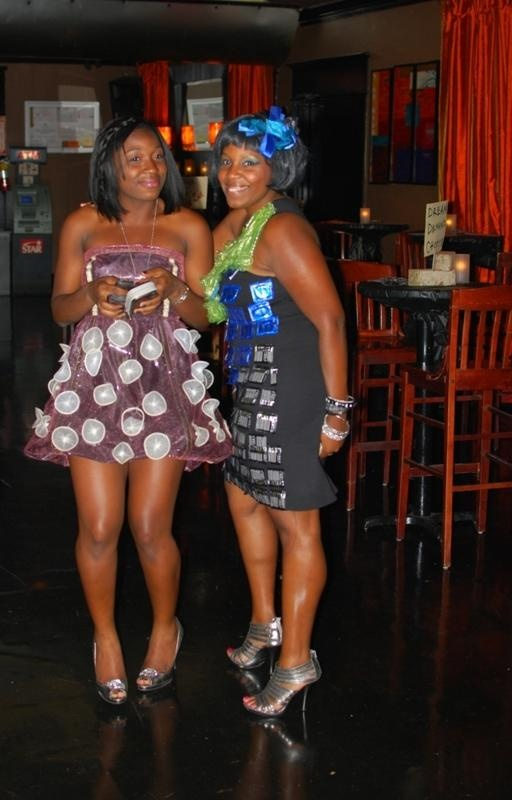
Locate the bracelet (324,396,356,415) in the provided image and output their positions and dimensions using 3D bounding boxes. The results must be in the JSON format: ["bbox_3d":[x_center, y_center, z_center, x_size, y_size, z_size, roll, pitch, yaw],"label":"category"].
[{"bbox_3d":[0.171,0.015,1.393,0.054,0.038,0.044,2,4,3],"label":"bracelet"}]

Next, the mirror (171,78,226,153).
[{"bbox_3d":[-0.693,-3.683,8.807,0.650,1.035,0.055,1,-1,5],"label":"mirror"}]

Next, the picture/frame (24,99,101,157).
[{"bbox_3d":[-3.373,-4.722,11.741,1.242,0.850,0.031,0,6,-1],"label":"picture/frame"}]

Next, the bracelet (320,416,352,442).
[{"bbox_3d":[0.162,0.070,1.422,0.057,0.036,0.053,16,45,1],"label":"bracelet"}]

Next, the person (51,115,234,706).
[{"bbox_3d":[-0.292,0.048,1.592,0.376,1.333,0.385,5,5,35],"label":"person"}]

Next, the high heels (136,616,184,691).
[{"bbox_3d":[-0.240,0.636,1.727,0.069,0.077,0.189,7,57,10],"label":"high heels"}]

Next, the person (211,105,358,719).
[{"bbox_3d":[0.035,0.065,1.557,0.327,1.342,0.465,1,4,-4],"label":"person"}]
